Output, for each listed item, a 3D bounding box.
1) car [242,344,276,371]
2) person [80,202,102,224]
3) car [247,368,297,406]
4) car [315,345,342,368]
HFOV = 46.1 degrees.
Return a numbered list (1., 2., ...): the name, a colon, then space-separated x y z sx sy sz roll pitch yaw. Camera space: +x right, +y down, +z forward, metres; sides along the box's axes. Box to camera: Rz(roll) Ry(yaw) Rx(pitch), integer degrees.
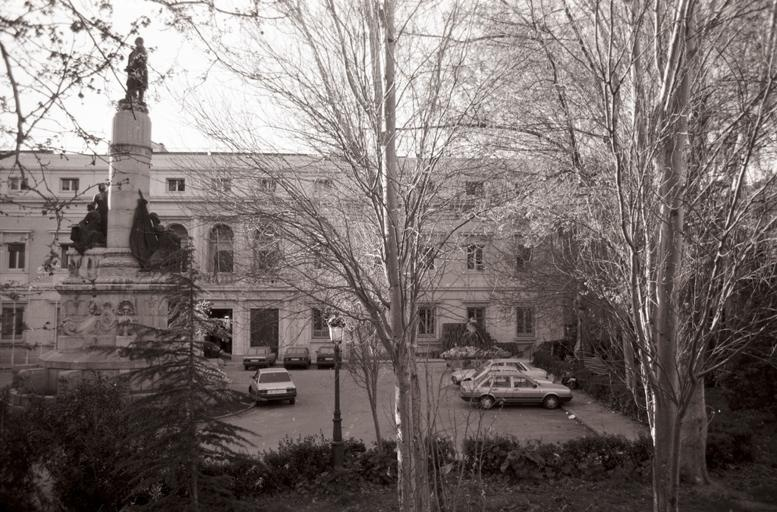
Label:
1. car: -6.003 4.757 42.766 1.090 0.907 2.599 -1 -6 -2
2. person: -10.006 -1.490 30.647 0.572 0.769 0.464 2 -7 -33
3. car: -4.110 4.607 32.197 1.491 1.305 2.011 -1 -7 -10
4. car: -2.964 5.152 44.164 1.468 1.270 3.689 0 -1 -3
